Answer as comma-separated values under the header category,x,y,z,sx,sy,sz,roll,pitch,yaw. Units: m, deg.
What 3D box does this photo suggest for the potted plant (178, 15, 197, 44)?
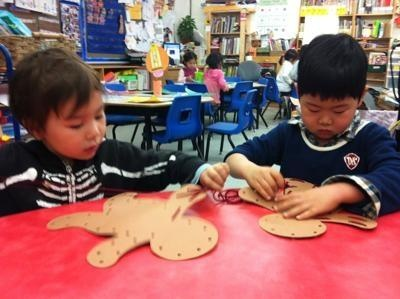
category,x,y,z,sx,sy,sz,roll,pitch,yaw
potted plant,-0.276,-2.648,6.825,0.536,0.772,0.529,-2,15,-4
